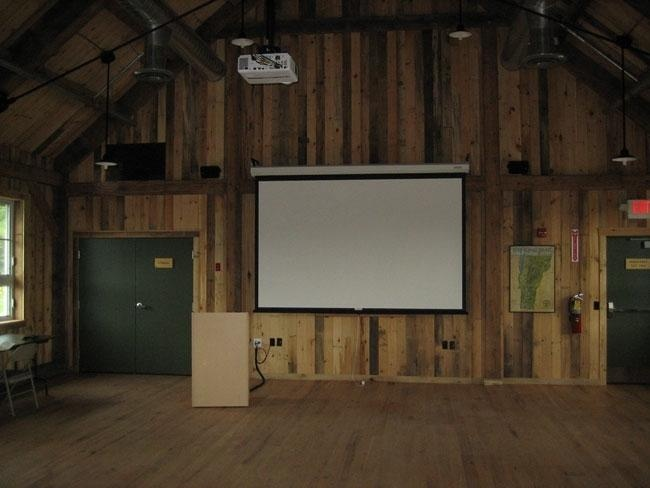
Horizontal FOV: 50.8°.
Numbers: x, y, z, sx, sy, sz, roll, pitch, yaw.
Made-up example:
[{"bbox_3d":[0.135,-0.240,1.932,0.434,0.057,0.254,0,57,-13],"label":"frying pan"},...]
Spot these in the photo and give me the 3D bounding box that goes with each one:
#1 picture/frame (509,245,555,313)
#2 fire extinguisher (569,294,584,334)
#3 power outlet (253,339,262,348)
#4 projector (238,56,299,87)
[{"bbox_3d":[3.290,0.592,10.833,0.625,1.022,0.039,0,-3,4],"label":"picture/frame"},{"bbox_3d":[3.947,1.081,10.745,0.253,0.564,0.297,1,14,5],"label":"fire extinguisher"},{"bbox_3d":[-1.104,1.612,11.159,0.139,0.143,0.056,1,14,6],"label":"power outlet"},{"bbox_3d":[-0.766,-2.352,9.201,0.729,0.387,0.361,1,15,4],"label":"projector"}]
